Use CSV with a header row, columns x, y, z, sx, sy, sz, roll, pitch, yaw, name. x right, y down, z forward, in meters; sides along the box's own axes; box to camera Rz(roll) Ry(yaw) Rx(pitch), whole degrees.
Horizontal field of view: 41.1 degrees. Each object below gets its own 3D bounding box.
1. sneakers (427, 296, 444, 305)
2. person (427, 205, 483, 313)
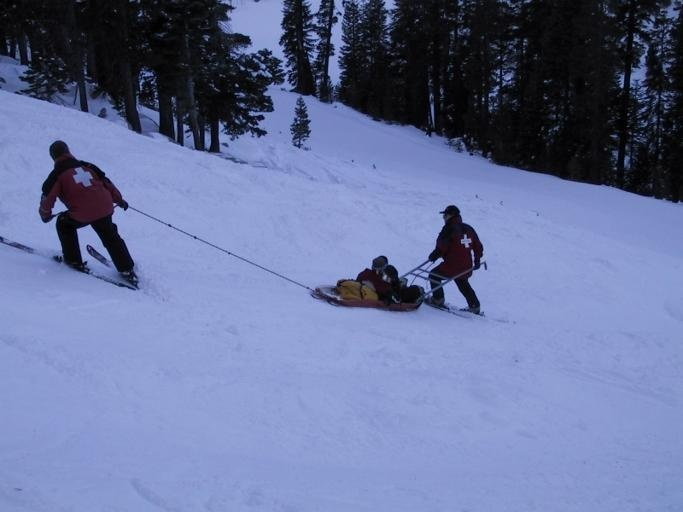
x,y,z,sx,sy,sz,roll,pitch,yaw,name
2.702,1.247,25.838,0.246,0.130,0.337,9,6,-33,sneakers
3.265,0.090,25.569,1.455,2.860,0.785,6,16,3,person
